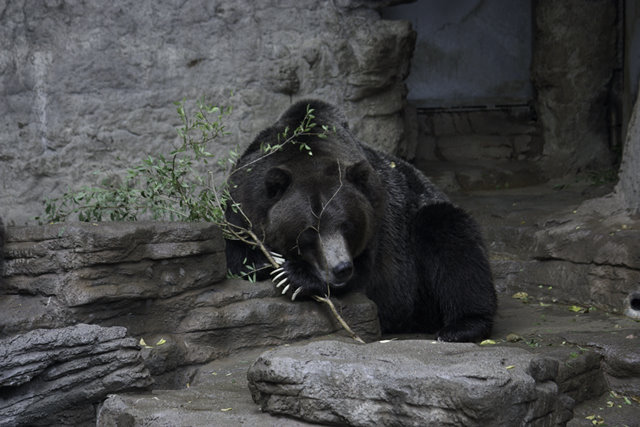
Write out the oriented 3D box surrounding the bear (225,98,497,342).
[{"bbox_3d":[0.920,0.096,7.577,3.213,1.909,2.141,11,-6,-34],"label":"bear"}]
